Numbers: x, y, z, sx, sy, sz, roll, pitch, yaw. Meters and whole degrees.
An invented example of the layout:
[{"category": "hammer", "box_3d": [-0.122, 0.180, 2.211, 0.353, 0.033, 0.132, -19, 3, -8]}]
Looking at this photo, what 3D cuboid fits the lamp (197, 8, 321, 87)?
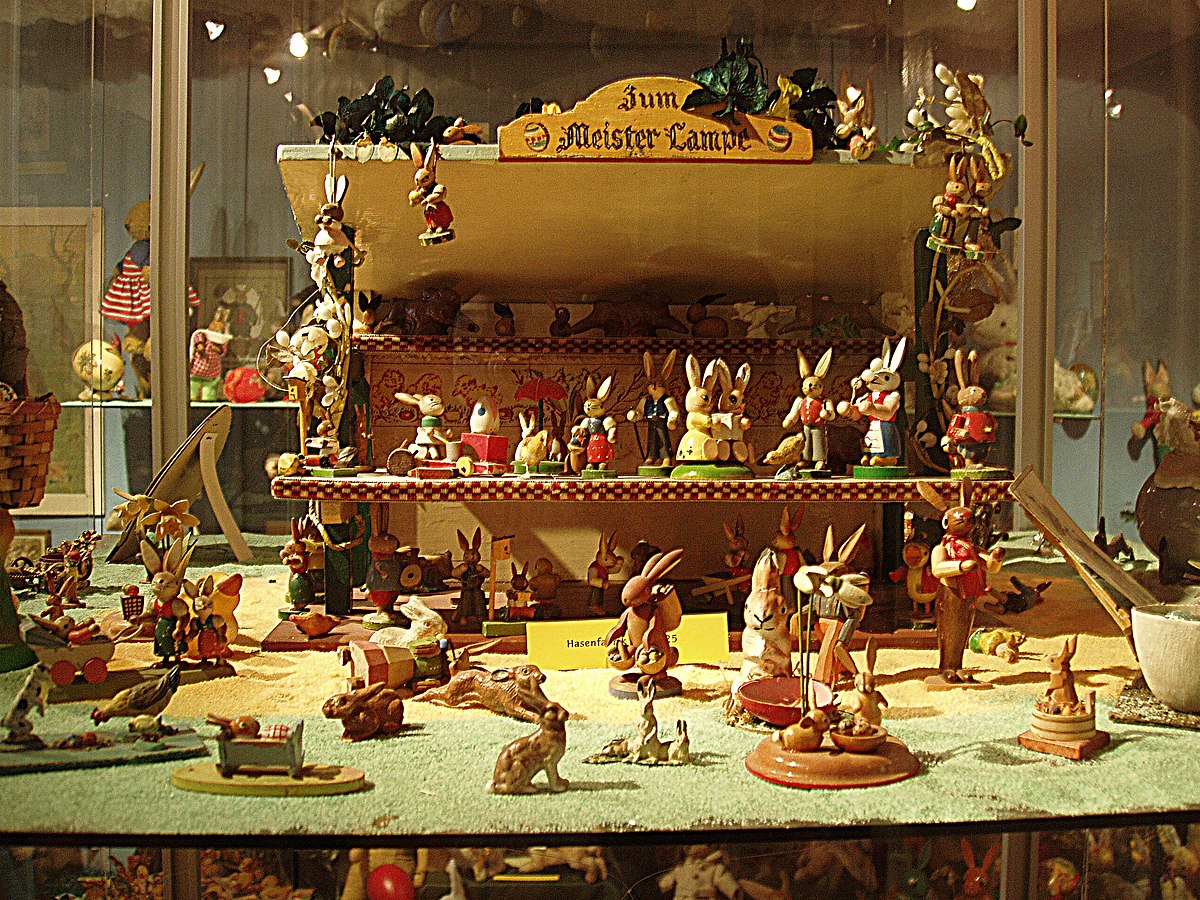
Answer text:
[{"category": "lamp", "box_3d": [-1.906, -2.318, 6.647, 0.781, 0.419, 0.193, 0, 4, 19]}]
